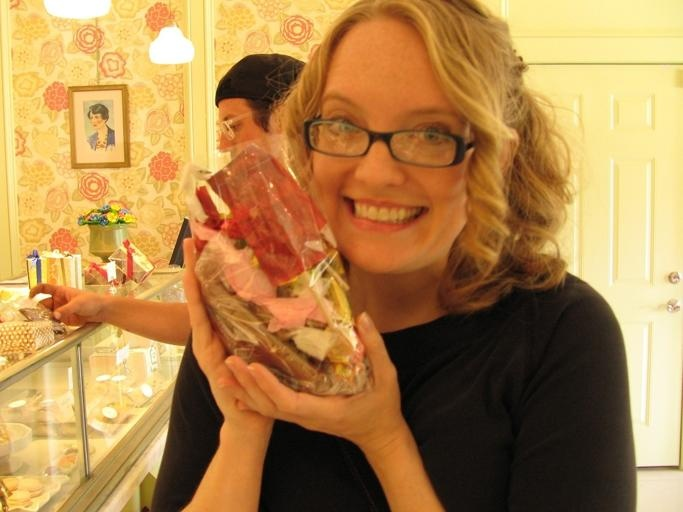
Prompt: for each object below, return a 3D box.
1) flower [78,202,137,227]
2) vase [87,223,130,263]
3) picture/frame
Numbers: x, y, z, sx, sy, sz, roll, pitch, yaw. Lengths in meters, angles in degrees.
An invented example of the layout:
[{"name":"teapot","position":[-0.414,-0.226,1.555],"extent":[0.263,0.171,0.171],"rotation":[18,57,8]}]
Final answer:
[{"name":"flower","position":[-1.137,-0.182,2.836],"extent":[0.206,0.084,0.205],"rotation":[-4,0,17]},{"name":"vase","position":[-1.111,-0.069,2.885],"extent":[0.201,0.207,0.197],"rotation":[-2,4,-26]},{"name":"picture/frame","position":[-1.632,-0.906,4.055],"extent":[0.590,0.700,0.041],"rotation":[0,5,3]}]
